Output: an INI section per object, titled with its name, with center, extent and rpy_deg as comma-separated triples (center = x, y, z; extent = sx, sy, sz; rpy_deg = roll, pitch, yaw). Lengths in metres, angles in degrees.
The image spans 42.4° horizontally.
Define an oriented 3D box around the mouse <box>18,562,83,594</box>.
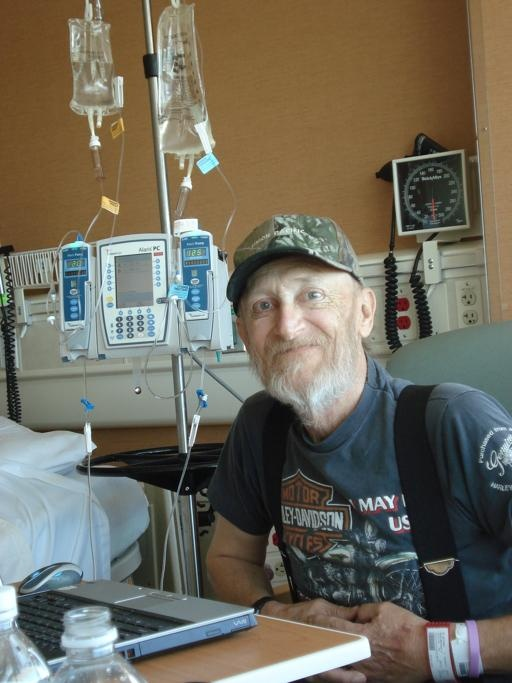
[mouse]
center = -0.266, 0.306, 0.863
extent = 0.069, 0.023, 0.039
rpy_deg = 8, -20, -43
